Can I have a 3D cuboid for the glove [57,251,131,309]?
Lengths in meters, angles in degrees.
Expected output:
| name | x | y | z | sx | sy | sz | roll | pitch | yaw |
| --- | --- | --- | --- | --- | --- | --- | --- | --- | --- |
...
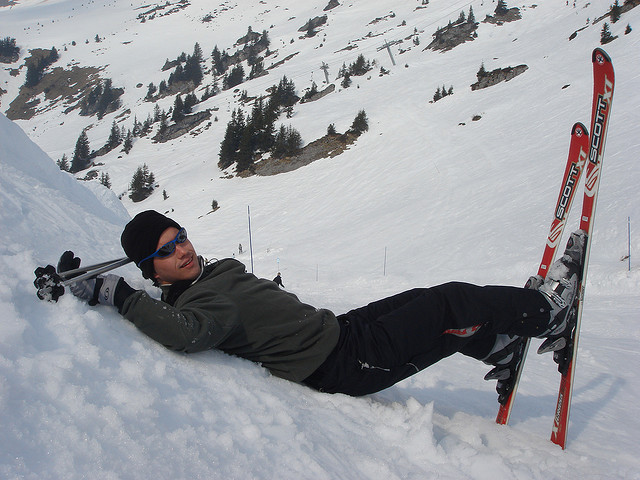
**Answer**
| name | x | y | z | sx | sy | sz | roll | pitch | yaw |
| --- | --- | --- | --- | --- | --- | --- | --- | --- | --- |
| glove | -2.247 | 0.426 | 6.357 | 0.826 | 0.289 | 0.349 | 18 | 19 | -26 |
